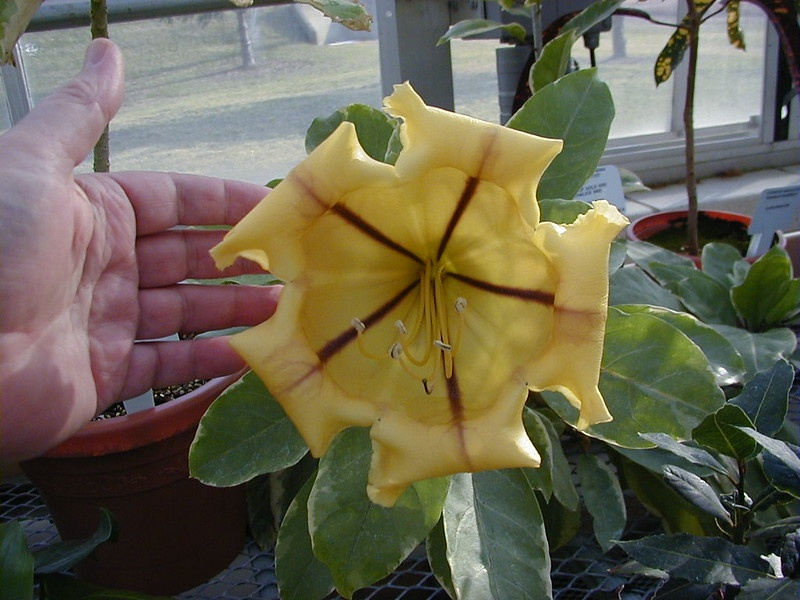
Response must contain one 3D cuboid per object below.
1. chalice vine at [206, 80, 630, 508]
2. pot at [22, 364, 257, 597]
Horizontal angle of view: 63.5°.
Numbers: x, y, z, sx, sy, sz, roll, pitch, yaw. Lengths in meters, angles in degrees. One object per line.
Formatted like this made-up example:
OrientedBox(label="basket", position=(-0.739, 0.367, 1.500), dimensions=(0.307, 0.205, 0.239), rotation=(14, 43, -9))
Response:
OrientedBox(label="chalice vine", position=(0.038, 0.006, 0.751), dimensions=(0.425, 0.228, 0.426), rotation=(42, 70, 12))
OrientedBox(label="pot", position=(-0.336, 0.309, 1.104), dimensions=(0.361, 0.265, 0.355), rotation=(-11, 14, 3))
